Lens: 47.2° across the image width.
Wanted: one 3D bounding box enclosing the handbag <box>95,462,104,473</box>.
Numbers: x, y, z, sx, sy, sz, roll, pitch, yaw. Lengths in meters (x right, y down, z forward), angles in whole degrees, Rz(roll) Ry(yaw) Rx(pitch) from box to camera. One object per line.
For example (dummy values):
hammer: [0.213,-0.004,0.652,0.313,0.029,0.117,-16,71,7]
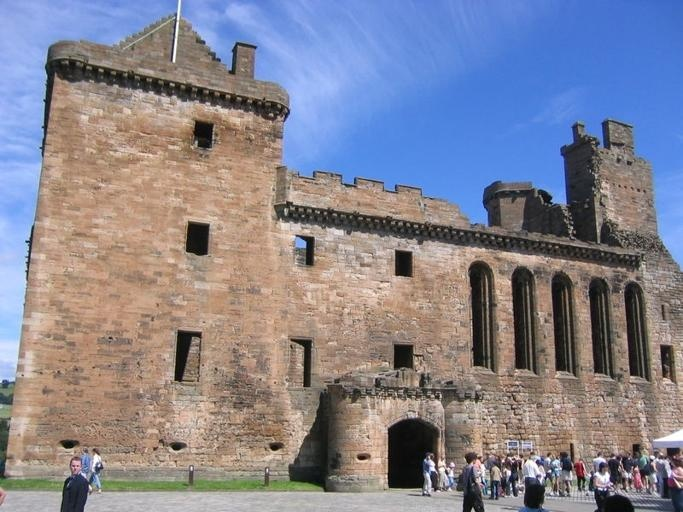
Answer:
handbag: [-10.515,9.031,33.604,0.172,0.516,0.350,-1,-13,41]
